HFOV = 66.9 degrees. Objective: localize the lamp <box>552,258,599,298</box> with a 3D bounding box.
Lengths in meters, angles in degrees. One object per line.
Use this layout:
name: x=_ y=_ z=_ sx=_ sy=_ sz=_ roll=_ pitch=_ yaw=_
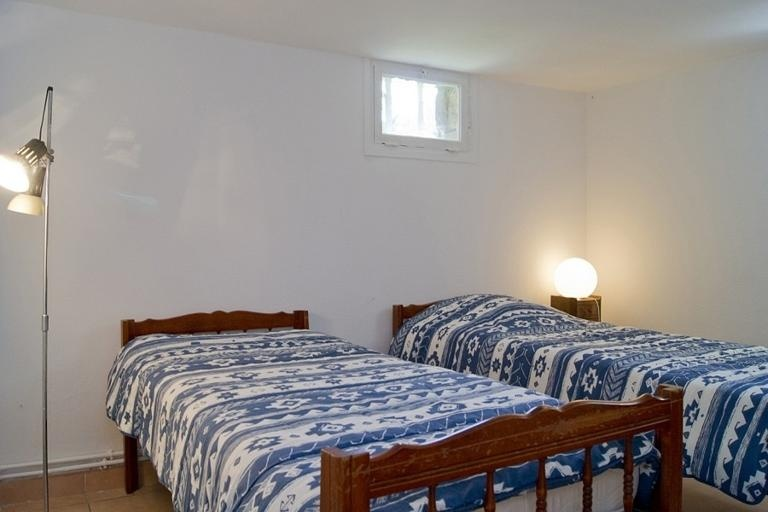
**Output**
lamp: x=1.570 y=0.204 z=4.894 sx=0.323 sy=0.391 sz=0.332 roll=4 pitch=-6 yaw=7
